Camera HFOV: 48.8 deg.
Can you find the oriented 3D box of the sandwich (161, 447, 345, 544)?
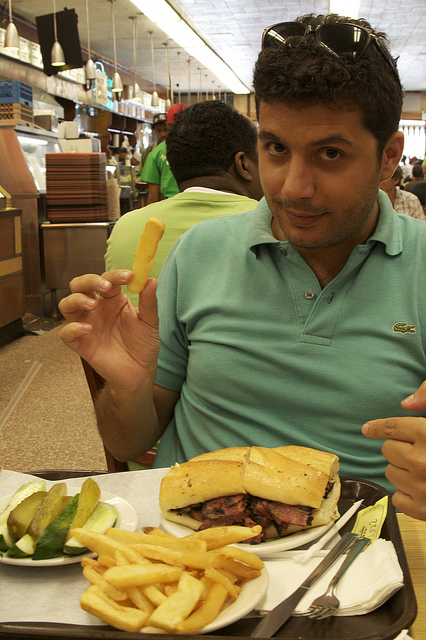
[{"bbox_3d":[0.074,0.285,0.842,0.295,0.094,0.304,-3,-8,27],"label":"sandwich"}]

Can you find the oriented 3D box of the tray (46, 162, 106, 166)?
[{"bbox_3d":[-1.732,-1.926,5.838,0.643,0.042,0.052,1,17,-5],"label":"tray"}]

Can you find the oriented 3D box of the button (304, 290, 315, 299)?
[{"bbox_3d":[0.231,-0.060,1.119,0.022,0.020,0.011,5,18,10],"label":"button"}]

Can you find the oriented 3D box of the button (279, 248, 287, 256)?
[{"bbox_3d":[0.173,-0.168,1.161,0.005,0.013,0.016,-36,74,-14],"label":"button"}]
